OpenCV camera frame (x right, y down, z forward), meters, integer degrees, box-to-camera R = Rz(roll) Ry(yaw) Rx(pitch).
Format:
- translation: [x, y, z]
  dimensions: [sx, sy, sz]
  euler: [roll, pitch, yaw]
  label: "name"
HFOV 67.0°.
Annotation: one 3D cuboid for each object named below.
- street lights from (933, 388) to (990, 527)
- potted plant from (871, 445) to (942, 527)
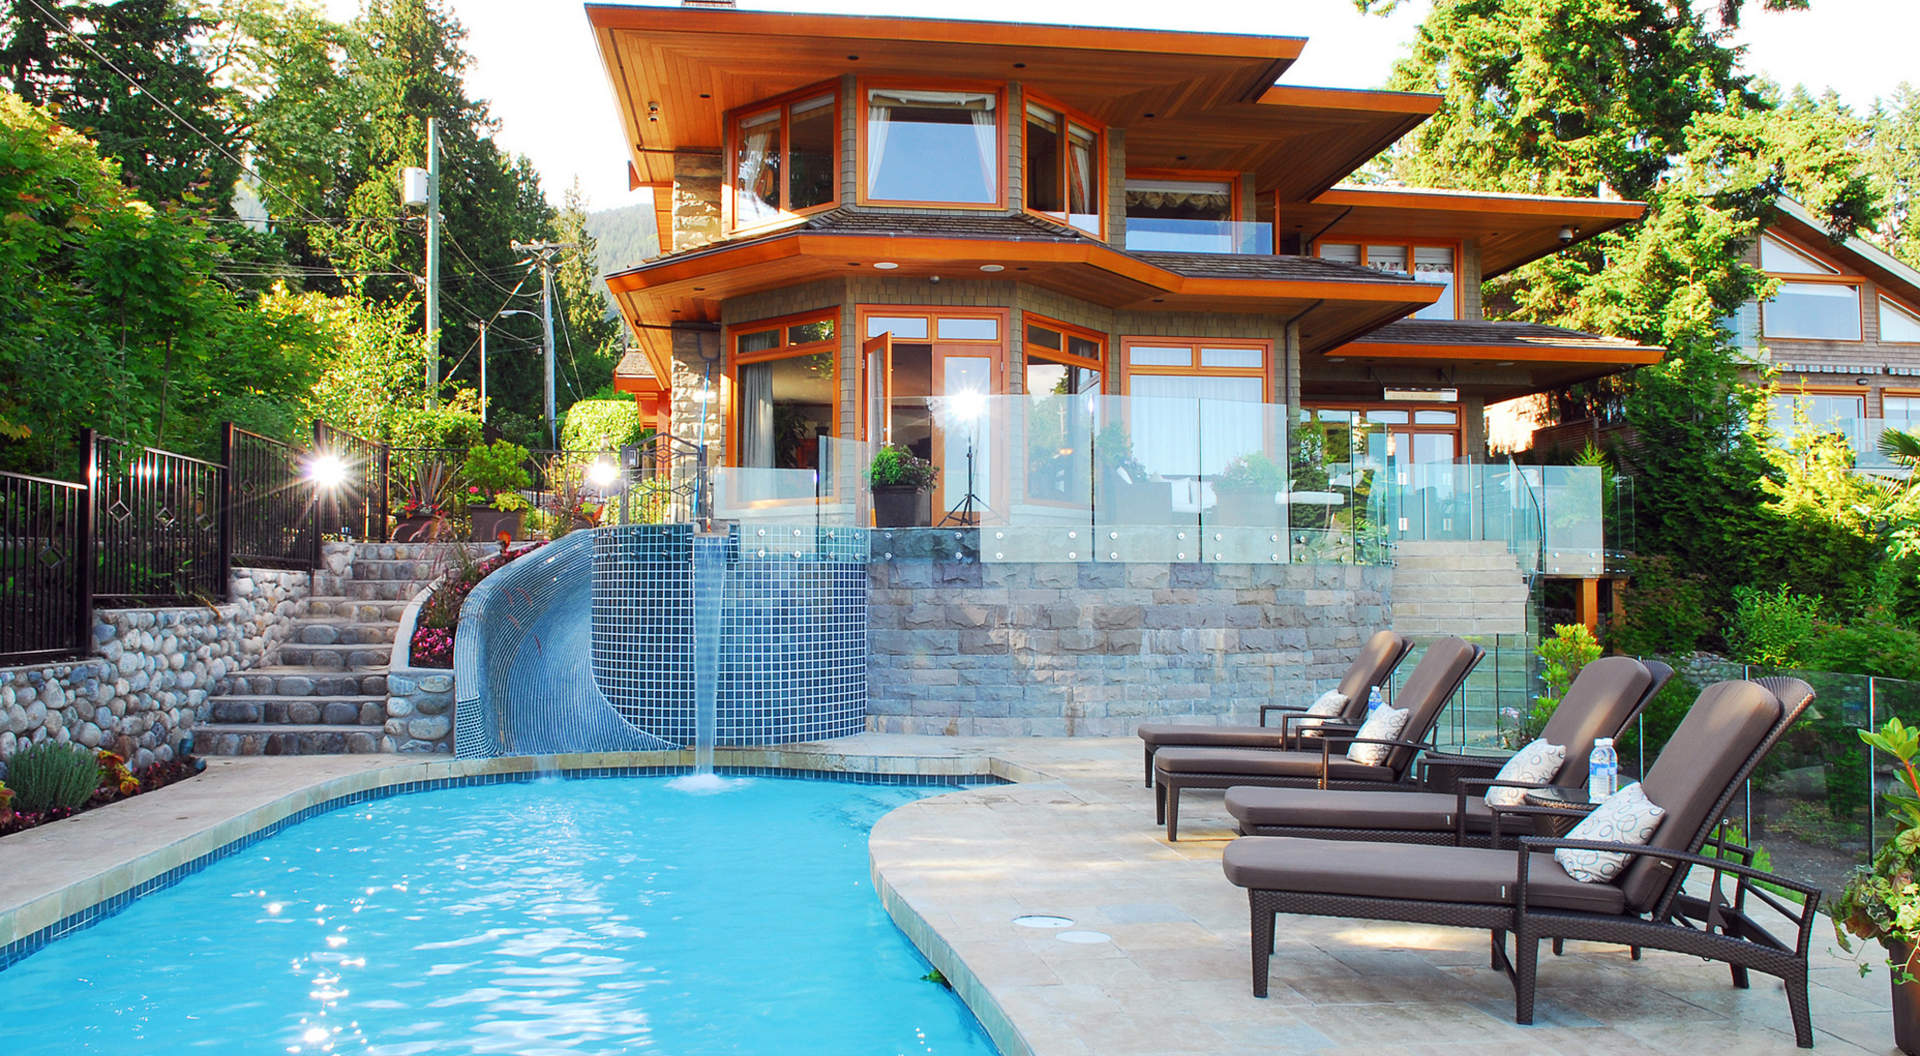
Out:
- translation: [0.109, -1.132, 23.754]
  dimensions: [0.959, 2.059, 0.931]
  euler: [-4, 15, 2]
  label: "street lights"
- translation: [-0.979, -0.664, 24.151]
  dimensions: [1.455, 1.310, 1.157]
  euler: [4, -9, -28]
  label: "potted plant"
